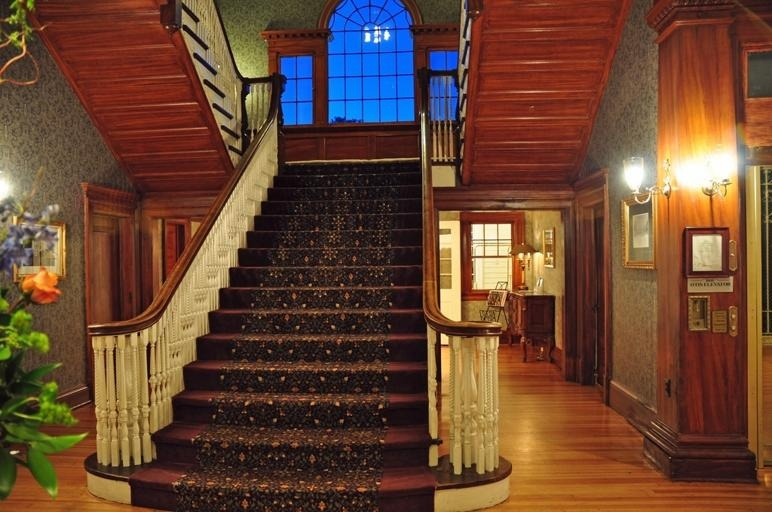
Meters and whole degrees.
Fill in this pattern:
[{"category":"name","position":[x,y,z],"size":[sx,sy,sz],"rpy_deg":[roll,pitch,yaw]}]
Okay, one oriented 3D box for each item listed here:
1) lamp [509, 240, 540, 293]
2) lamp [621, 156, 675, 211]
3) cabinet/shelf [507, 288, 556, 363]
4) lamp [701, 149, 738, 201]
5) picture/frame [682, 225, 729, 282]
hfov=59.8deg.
[{"category":"lamp","position":[2.555,0.180,12.249],"size":[0.791,1.091,0.599],"rpy_deg":[0,-9,3]},{"category":"lamp","position":[2.848,-0.803,7.287],"size":[0.425,0.530,0.251],"rpy_deg":[-1,8,31]},{"category":"cabinet/shelf","position":[2.495,1.132,11.415],"size":[0.530,1.072,1.754],"rpy_deg":[1,3,6]},{"category":"lamp","position":[3.264,-0.778,6.641],"size":[0.204,0.392,0.221],"rpy_deg":[-6,12,-13]},{"category":"picture/frame","position":[3.185,-0.024,6.658],"size":[0.510,0.667,0.052],"rpy_deg":[0,-2,2]}]
